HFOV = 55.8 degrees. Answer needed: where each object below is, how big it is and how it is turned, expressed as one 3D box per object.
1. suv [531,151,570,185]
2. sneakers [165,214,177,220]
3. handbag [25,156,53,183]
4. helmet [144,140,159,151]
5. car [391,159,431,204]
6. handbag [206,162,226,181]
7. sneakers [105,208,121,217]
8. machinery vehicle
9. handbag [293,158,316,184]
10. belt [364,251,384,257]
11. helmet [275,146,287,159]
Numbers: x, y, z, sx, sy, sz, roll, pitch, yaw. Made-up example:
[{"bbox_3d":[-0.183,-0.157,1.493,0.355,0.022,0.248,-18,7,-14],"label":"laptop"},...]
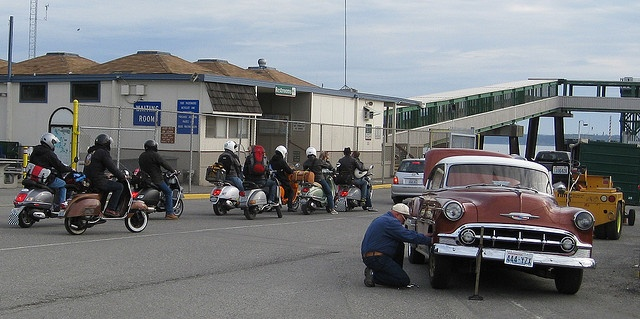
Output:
[{"bbox_3d":[10.412,0.344,27.093,1.804,1.141,2.593,4,5,21],"label":"suv"},{"bbox_3d":[-6.076,2.355,24.793,0.572,0.196,0.186,-1,3,1],"label":"sneakers"},{"bbox_3d":[-10.370,0.387,22.347,1.003,0.603,0.331,17,12,-4],"label":"handbag"},{"bbox_3d":[-6.808,-0.550,24.500,0.472,0.368,0.500,10,17,38],"label":"helmet"},{"bbox_3d":[4.586,1.042,30.527,1.701,1.255,2.741,1,7,6],"label":"car"},{"bbox_3d":[-4.402,0.542,25.750,1.182,0.871,0.601,0,-7,26],"label":"handbag"},{"bbox_3d":[-7.377,1.893,21.498,0.564,0.201,0.179,3,29,-12],"label":"sneakers"},{"bbox_3d":[11.276,1.641,24.831,3.084,2.406,4.779,2,6,26],"label":"machinery vehicle"},{"bbox_3d":[-0.737,0.640,27.474,1.319,0.762,1.043,-1,48,7],"label":"handbag"},{"bbox_3d":[1.517,2.674,17.132,0.527,0.172,0.048,3,14,4],"label":"belt"},{"bbox_3d":[-1.710,-0.342,27.029,0.639,0.537,0.493,-1,10,-41],"label":"helmet"}]
